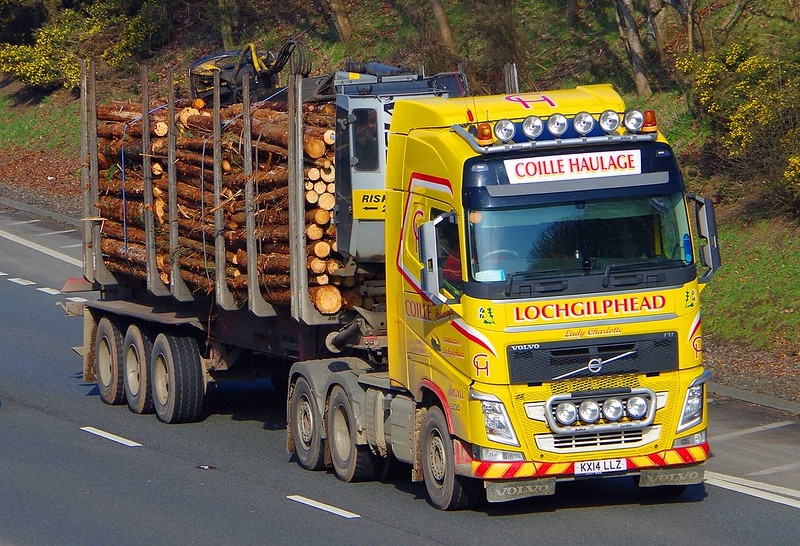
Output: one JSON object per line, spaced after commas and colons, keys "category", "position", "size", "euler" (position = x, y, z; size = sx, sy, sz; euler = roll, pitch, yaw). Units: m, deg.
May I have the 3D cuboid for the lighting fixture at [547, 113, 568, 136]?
{"category": "lighting fixture", "position": [2.118, -1.955, 16.446], "size": [0.305, 0.301, 0.118], "euler": [-6, 12, -17]}

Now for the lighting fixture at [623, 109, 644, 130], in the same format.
{"category": "lighting fixture", "position": [3.134, -2.026, 16.568], "size": [0.264, 0.289, 0.125], "euler": [-1, 12, 5]}

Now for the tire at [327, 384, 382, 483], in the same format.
{"category": "tire", "position": [-0.661, 2.376, 18.513], "size": [0.548, 1.516, 1.527], "euler": [-3, 22, -19]}

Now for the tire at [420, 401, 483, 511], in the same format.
{"category": "tire", "position": [0.708, 2.566, 17.153], "size": [0.472, 1.443, 1.454], "euler": [-2, 6, -15]}

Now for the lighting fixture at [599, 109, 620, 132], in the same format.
{"category": "lighting fixture", "position": [2.795, -2.009, 16.518], "size": [0.267, 0.289, 0.144], "euler": [0, 12, 10]}

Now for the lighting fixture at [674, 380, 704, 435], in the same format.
{"category": "lighting fixture", "position": [3.864, 1.787, 16.536], "size": [0.535, 0.546, 0.159], "euler": [-1, 9, -16]}

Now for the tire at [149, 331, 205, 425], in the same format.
{"category": "tire", "position": [-4.019, 1.892, 22.225], "size": [0.584, 1.647, 1.644], "euler": [-2, 3, -26]}

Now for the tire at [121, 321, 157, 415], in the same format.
{"category": "tire", "position": [-4.717, 1.767, 22.493], "size": [0.562, 1.894, 1.702], "euler": [-2, 1, -25]}

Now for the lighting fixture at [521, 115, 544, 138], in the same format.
{"category": "lighting fixture", "position": [1.771, -1.924, 16.457], "size": [0.286, 0.300, 0.149], "euler": [-2, 12, -2]}

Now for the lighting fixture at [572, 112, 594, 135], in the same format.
{"category": "lighting fixture", "position": [2.451, -1.983, 16.505], "size": [0.272, 0.296, 0.160], "euler": [-1, 12, 6]}

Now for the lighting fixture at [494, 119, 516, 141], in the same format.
{"category": "lighting fixture", "position": [1.392, -1.883, 16.448], "size": [0.301, 0.356, 0.081], "euler": [1, -17, -9]}

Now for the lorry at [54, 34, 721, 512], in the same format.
{"category": "lorry", "position": [-0.516, -0.219, 21.733], "size": [5.084, 6.687, 13.649], "euler": [-2, 5, -33]}

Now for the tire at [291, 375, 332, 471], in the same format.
{"category": "tire", "position": [-1.552, 2.381, 19.624], "size": [0.386, 1.629, 1.644], "euler": [-4, -21, -14]}
